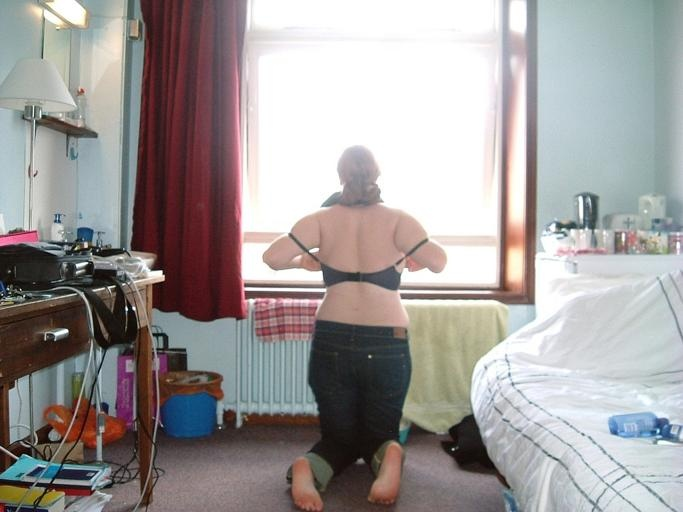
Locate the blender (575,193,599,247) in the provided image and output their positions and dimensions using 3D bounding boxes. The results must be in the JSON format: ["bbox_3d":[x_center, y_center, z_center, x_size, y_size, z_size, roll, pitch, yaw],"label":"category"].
[{"bbox_3d":[1.552,-0.200,3.716,0.143,0.410,0.150,6,-20,2],"label":"blender"}]

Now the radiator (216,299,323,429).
[{"bbox_3d":[-0.431,0.689,3.687,0.722,0.786,0.139,1,4,1],"label":"radiator"}]

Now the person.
[{"bbox_3d":[0.073,0.337,2.923,0.799,1.771,0.344,-2,4,-14],"label":"person"}]

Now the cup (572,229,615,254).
[{"bbox_3d":[1.512,-0.084,3.511,0.263,0.144,0.212,0,4,16],"label":"cup"}]

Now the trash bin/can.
[{"bbox_3d":[-0.927,0.911,3.659,0.335,0.289,0.362,0,-2,0],"label":"trash bin/can"}]

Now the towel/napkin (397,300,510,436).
[{"bbox_3d":[0.679,0.605,3.613,0.688,0.800,0.176,0,3,0],"label":"towel/napkin"}]
